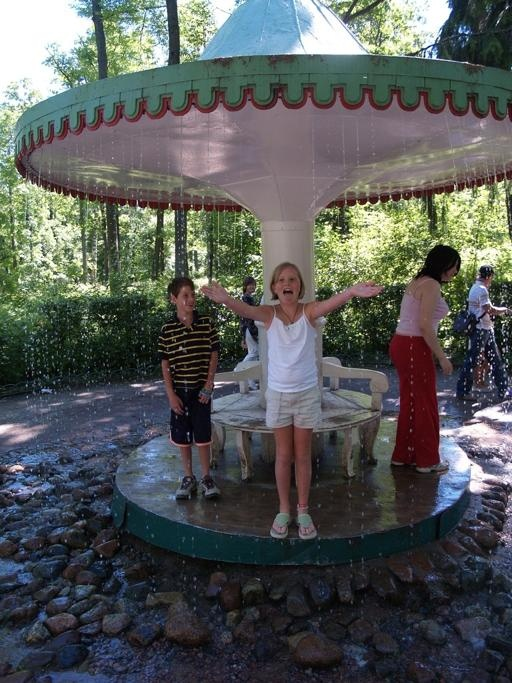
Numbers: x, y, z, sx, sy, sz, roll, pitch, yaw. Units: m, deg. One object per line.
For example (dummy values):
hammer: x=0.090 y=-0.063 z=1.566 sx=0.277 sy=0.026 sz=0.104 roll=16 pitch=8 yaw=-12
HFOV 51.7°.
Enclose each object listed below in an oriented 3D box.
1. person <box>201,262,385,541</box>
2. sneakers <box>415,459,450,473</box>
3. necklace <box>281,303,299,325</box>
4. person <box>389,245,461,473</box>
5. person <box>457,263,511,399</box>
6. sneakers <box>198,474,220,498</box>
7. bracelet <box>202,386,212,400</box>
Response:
person: x=0.176 y=0.345 z=3.021 sx=0.841 sy=1.582 sz=0.906 roll=-4 pitch=4 yaw=-5
sneakers: x=1.410 y=0.999 z=4.238 sx=0.266 sy=0.118 sz=0.095 roll=-6 pitch=13 yaw=-14
necklace: x=0.189 y=-0.154 z=2.972 sx=0.091 sy=0.121 sz=0.048 roll=0 pitch=0 yaw=5
person: x=1.285 y=0.155 z=4.092 sx=0.556 sy=1.770 sz=0.610 roll=-2 pitch=5 yaw=18
person: x=3.554 y=-0.148 z=8.401 sx=0.795 sy=2.088 sz=0.502 roll=-2 pitch=5 yaw=17
sneakers: x=-0.326 y=1.027 z=3.749 sx=0.092 sy=0.077 sz=0.182 roll=-2 pitch=-3 yaw=-14
bracelet: x=-0.336 y=0.347 z=3.629 sx=0.073 sy=0.066 sz=0.071 roll=0 pitch=-7 yaw=-6
